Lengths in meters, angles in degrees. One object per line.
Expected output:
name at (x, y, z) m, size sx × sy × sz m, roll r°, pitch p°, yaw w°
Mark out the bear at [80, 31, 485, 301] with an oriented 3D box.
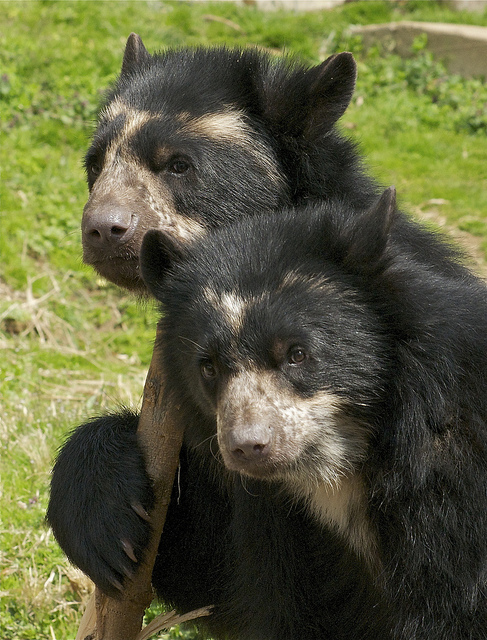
bear at (-0.012, -0.689, 3.484) m, size 1.490 × 1.089 × 0.583 m, roll -20°, pitch 64°, yaw -29°
